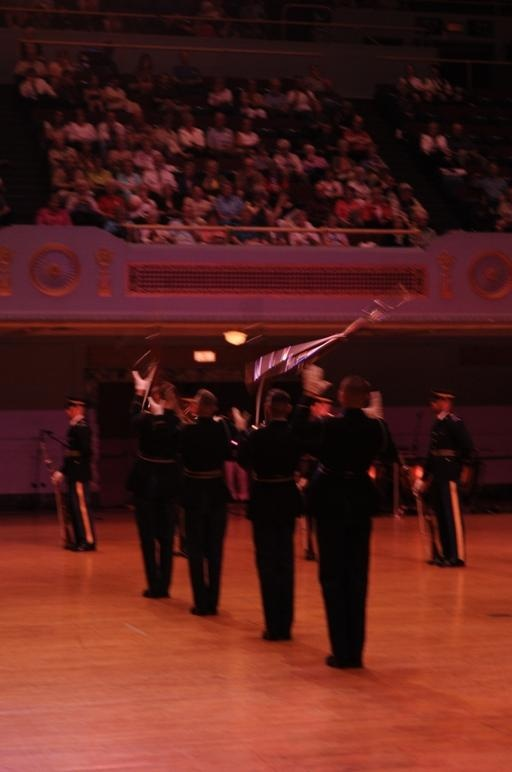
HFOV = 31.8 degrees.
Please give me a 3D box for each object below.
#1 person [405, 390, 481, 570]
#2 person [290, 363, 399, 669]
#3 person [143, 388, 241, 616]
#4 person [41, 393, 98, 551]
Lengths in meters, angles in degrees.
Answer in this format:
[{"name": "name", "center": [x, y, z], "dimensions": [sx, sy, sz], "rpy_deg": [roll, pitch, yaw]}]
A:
[{"name": "person", "center": [1.752, 0.922, 8.400], "dimensions": [0.539, 1.720, 0.974], "rpy_deg": [2, 16, 11]}, {"name": "person", "center": [0.484, 0.753, 4.770], "dimensions": [0.528, 1.599, 0.793], "rpy_deg": [0, 16, 7]}, {"name": "person", "center": [-0.302, 0.818, 6.038], "dimensions": [0.366, 1.538, 0.649], "rpy_deg": [-3, 16, -4]}, {"name": "person", "center": [-1.847, 0.922, 9.157], "dimensions": [0.415, 1.654, 0.445], "rpy_deg": [-4, 16, -6]}]
